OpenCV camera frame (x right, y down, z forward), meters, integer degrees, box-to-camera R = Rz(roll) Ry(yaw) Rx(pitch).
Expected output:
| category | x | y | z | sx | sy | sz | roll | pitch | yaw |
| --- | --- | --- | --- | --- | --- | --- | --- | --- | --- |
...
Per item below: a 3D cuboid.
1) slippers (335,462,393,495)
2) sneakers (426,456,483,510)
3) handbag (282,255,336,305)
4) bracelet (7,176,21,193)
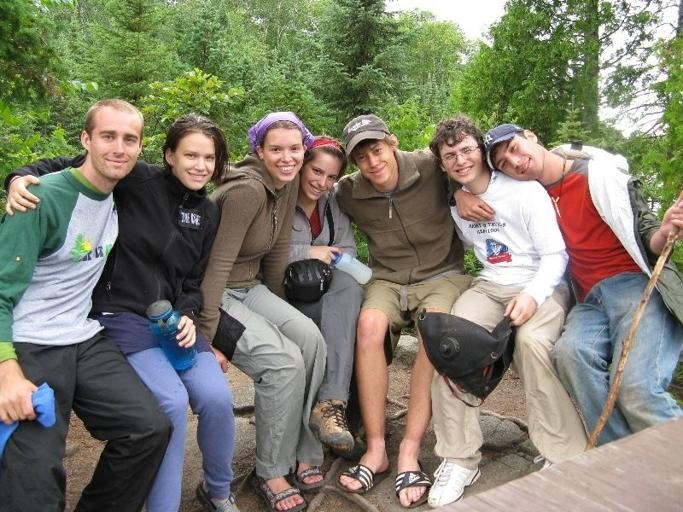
| category | x | y | z | sx | sy | sz | roll | pitch | yaw |
| --- | --- | --- | --- | --- | --- | --- | --- | --- | --- |
| slippers | 0.171 | 1.409 | 3.403 | 0.403 | 0.123 | 0.162 | -6 | 18 | -38 |
| sneakers | 0.695 | 1.390 | 3.257 | 0.226 | 0.237 | 0.439 | 14 | 16 | 31 |
| handbag | -0.255 | 0.167 | 3.940 | 0.349 | 0.308 | 0.308 | -5 | -18 | -20 |
| bracelet | -1.708 | -0.376 | 2.729 | 0.073 | 0.104 | 0.037 | 1 | -3 | 3 |
